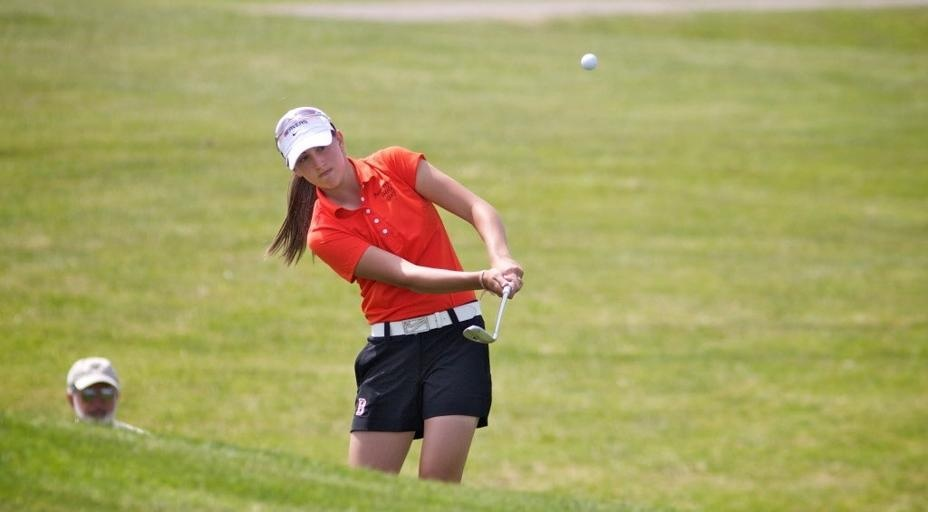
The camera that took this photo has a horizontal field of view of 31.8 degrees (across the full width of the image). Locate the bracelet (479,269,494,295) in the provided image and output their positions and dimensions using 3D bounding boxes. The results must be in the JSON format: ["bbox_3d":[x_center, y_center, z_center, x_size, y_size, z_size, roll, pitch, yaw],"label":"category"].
[{"bbox_3d":[0.234,0.282,17.814,0.151,0.278,0.259,4,19,1],"label":"bracelet"}]

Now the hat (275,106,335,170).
[{"bbox_3d":[-1.774,-1.333,18.100,0.601,0.406,0.757,-30,13,10],"label":"hat"}]
